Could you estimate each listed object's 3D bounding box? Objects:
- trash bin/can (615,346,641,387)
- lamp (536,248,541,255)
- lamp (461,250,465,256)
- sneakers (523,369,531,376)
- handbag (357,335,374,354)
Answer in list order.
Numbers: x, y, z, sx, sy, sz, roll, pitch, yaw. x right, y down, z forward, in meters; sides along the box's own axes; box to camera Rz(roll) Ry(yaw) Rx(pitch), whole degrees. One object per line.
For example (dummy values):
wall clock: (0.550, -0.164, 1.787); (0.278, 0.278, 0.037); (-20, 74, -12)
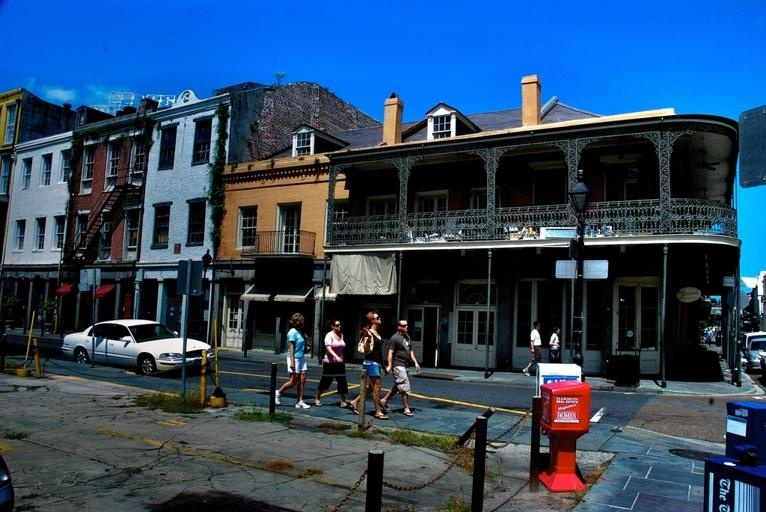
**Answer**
trash bin/can: (8.135, 3.826, 21.091); (0.756, 1.029, 0.564); (-1, -7, 16)
lamp: (6.008, -0.172, 24.395); (0.196, 0.155, 1.343); (-1, -7, 14)
lamp: (3.169, -0.142, 25.179); (0.164, 0.149, 0.183); (-2, 3, 2)
sneakers: (5.404, 4.349, 23.812); (0.225, 0.251, 0.651); (-1, -7, 11)
handbag: (-0.462, 2.231, 15.913); (0.410, 0.490, 0.265); (-1, -7, 13)
